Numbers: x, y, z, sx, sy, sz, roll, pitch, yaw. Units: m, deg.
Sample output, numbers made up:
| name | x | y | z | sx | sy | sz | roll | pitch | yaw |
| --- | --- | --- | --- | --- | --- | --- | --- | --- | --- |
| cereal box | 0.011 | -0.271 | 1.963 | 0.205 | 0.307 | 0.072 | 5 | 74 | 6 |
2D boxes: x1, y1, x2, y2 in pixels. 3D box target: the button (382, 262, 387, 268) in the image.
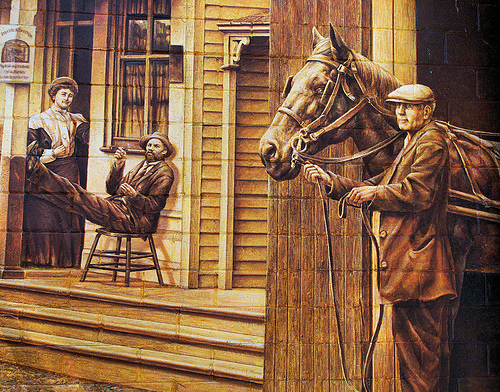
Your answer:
| name | x | y | z | sx | sy | sz | roll | pitch | yaw |
| --- | --- | --- | --- | --- | --- | --- | --- | --- | --- |
| button | 1.139 | 0.589 | 12.504 | 0.049 | 0.047 | 0.012 | 8 | 5 | 4 |

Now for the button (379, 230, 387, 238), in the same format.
| name | x | y | z | sx | sy | sz | roll | pitch | yaw |
| --- | --- | --- | --- | --- | --- | --- | --- | --- | --- |
| button | 1.126 | 0.318 | 12.504 | 0.062 | 0.059 | 0.020 | 3 | 5 | 0 |

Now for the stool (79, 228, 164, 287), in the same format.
| name | x | y | z | sx | sy | sz | roll | pitch | yaw |
| --- | --- | --- | --- | --- | --- | --- | --- | --- | --- |
| stool | -1.098 | 0.527 | 12.638 | 0.725 | 0.496 | 0.199 | 5 | 0 | -6 |

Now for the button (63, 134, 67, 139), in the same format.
| name | x | y | z | sx | sy | sz | roll | pitch | yaw |
| --- | --- | --- | --- | --- | --- | --- | --- | --- | --- |
| button | -1.602 | -0.521 | 12.584 | 0.049 | 0.047 | 0.013 | 2 | 1 | -14 |
